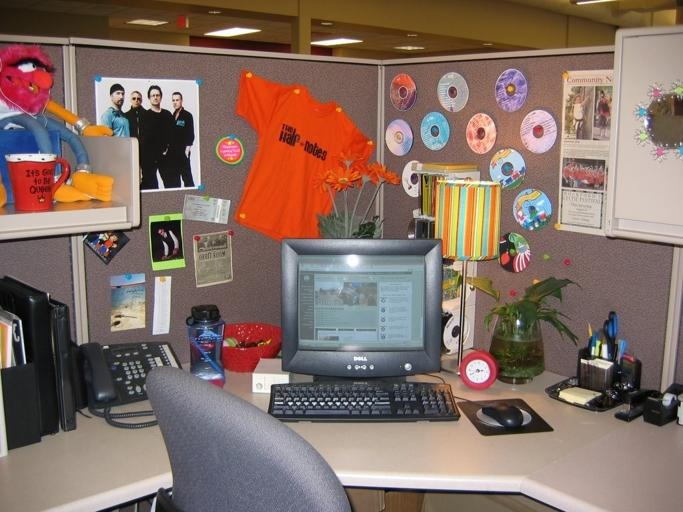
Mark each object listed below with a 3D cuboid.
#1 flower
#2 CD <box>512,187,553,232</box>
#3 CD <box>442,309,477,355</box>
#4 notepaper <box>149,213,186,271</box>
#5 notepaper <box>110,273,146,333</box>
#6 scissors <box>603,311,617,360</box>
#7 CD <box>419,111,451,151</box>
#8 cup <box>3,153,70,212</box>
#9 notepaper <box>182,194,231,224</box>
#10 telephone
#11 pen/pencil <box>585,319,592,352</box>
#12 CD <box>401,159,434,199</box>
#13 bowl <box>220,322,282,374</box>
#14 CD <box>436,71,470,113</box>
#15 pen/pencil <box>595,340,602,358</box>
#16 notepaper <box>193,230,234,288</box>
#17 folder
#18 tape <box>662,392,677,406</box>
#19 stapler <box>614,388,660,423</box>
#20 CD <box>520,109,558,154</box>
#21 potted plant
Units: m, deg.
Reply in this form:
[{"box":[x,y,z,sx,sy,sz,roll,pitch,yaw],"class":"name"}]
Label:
[{"box":[0.018,-0.231,1.993,0.281,0.401,0.228,-10,22,-39],"class":"flower"},{"box":[0.591,-0.143,1.695,0.114,0.126,0.024,-22,-10,36],"class":"CD"},{"box":[0.402,0.260,1.845,0.162,0.167,0.091,-2,7,-45],"class":"CD"},{"box":[-0.568,-0.047,1.719,0.102,0.179,0.036,-4,14,-35],"class":"notepaper"},{"box":[-0.678,0.144,1.681,0.100,0.179,0.040,-7,13,-44],"class":"notepaper"},{"box":[0.800,0.232,1.585,0.035,0.153,0.016,2,4,1],"class":"scissors"},{"box":[0.340,-0.454,1.912,0.138,0.153,0.016,8,15,44],"class":"CD"},{"box":[-0.734,-0.176,1.337,0.127,0.159,0.154,11,15,20],"class":"cup"},{"box":[-0.458,-0.159,1.769,0.155,0.092,0.007,3,4,-36],"class":"notepaper"},{"box":[-0.609,0.350,1.504,0.287,0.121,0.313,-1,42,-46],"class":"telephone"},{"box":[0.761,0.243,1.640,0.010,0.018,0.096,25,30,13],"class":"pen/pencil"},{"box":[0.263,-0.290,1.967,0.111,0.115,0.026,0,8,38],"class":"CD"},{"box":[-0.315,0.298,1.806,0.174,0.164,0.157,2,16,-4],"class":"bowl"},{"box":[0.393,-0.577,1.858,0.147,0.164,0.022,5,19,39],"class":"CD"},{"box":[0.762,0.276,1.581,0.011,0.049,0.012,1,-4,12],"class":"pen/pencil"},{"box":[-0.441,0.004,1.800,0.173,0.235,0.017,-5,8,-35],"class":"notepaper"},{"box":[-0.729,0.298,1.389,0.041,0.394,0.332,-4,3,-28],"class":"folder"},{"box":[0.885,0.388,1.438,0.029,0.013,0.038,-19,8,9],"class":"tape"},{"box":[0.861,0.408,1.530,0.204,0.075,0.055,-10,10,-38],"class":"stapler"},{"box":[0.628,-0.400,1.694,0.107,0.128,0.032,11,16,37],"class":"CD"},{"box":[0.569,0.226,1.702,0.198,0.358,0.265,-9,18,-36],"class":"potted plant"}]
